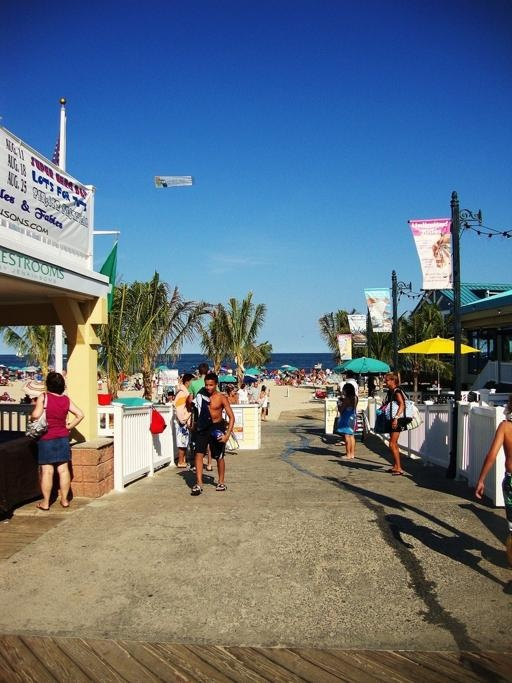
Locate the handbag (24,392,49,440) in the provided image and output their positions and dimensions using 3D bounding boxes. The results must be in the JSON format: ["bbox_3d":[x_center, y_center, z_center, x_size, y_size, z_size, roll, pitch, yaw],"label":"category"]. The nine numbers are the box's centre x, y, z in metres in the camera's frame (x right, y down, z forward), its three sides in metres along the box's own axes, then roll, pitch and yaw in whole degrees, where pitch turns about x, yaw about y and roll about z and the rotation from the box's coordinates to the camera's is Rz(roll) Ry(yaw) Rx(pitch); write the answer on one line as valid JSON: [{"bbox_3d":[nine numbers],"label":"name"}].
[{"bbox_3d":[-2.565,0.882,6.661,0.220,0.529,0.189,-3,-5,33],"label":"handbag"}]

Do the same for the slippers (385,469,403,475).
[{"bbox_3d":[2.321,2.172,9.517,0.304,0.069,0.493,-1,-4,13],"label":"slippers"}]

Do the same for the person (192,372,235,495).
[{"bbox_3d":[-0.624,1.299,8.364,0.580,1.701,1.398,0,-4,-3],"label":"person"}]

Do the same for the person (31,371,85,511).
[{"bbox_3d":[-2.443,1.195,7.045,0.563,1.639,0.966,1,-4,-17],"label":"person"}]

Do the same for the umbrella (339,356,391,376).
[{"bbox_3d":[4.516,0.968,23.174,1.264,0.485,1.306,5,-9,-20],"label":"umbrella"}]

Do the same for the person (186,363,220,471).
[{"bbox_3d":[-0.880,1.498,10.280,0.661,2.003,0.571,-2,17,-10],"label":"person"}]

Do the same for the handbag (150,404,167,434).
[{"bbox_3d":[-1.731,1.422,10.023,0.256,0.515,0.914,1,-4,-10],"label":"handbag"}]

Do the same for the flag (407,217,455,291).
[{"bbox_3d":[3.357,-1.661,10.824,0.724,1.405,0.454,-1,-4,17],"label":"flag"}]

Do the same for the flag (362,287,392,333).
[{"bbox_3d":[4.460,-1.135,20.540,0.882,1.494,1.099,-1,-4,13],"label":"flag"}]

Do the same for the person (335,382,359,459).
[{"bbox_3d":[1.965,1.682,12.260,0.396,1.614,1.682,-1,-4,10],"label":"person"}]
